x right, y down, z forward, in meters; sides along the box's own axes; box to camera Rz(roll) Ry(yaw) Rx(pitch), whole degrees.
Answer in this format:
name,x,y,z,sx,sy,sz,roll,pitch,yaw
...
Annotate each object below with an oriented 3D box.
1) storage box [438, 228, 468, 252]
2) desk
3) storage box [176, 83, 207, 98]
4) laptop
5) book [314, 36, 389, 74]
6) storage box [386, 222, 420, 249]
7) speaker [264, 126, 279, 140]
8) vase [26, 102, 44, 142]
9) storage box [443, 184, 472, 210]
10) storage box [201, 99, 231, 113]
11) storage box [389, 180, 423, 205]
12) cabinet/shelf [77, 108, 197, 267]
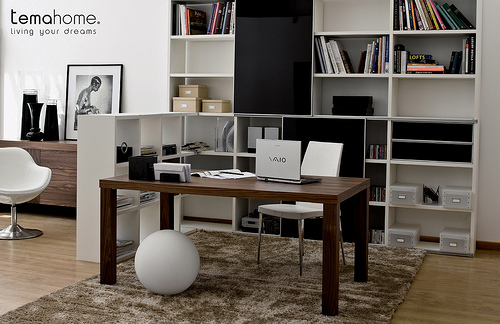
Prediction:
name,x,y,z,sx,sy,sz,roll,pitch,yaw
storage box,2.485,0.959,4.744,0.276,0.168,0.281,1,4,35
desk,0.027,0.584,4.281,2.479,1.015,2.081,4,8,16
storage box,-0.835,-1.009,5.661,0.273,0.139,0.275,3,7,21
laptop,0.336,-0.107,3.636,0.555,0.436,0.409,3,6,32
book,1.297,-1.377,5.005,0.932,0.480,0.232,3,7,14
storage box,1.945,0.921,4.956,0.266,0.172,0.341,2,4,23
speaker,0.285,-0.387,5.196,0.233,0.168,0.119,2,6,24
vase,-3.280,-0.624,5.942,0.232,0.571,0.334,-4,9,-35
storage box,2.491,0.419,4.684,0.275,0.169,0.278,2,6,35
storage box,-0.475,-0.794,5.521,0.422,0.182,0.261,0,8,-7
storage box,1.958,0.364,4.908,0.298,0.181,0.303,1,4,23
cabinet/shelf,-1.244,0.290,4.142,0.518,1.514,1.761,1,3,18
